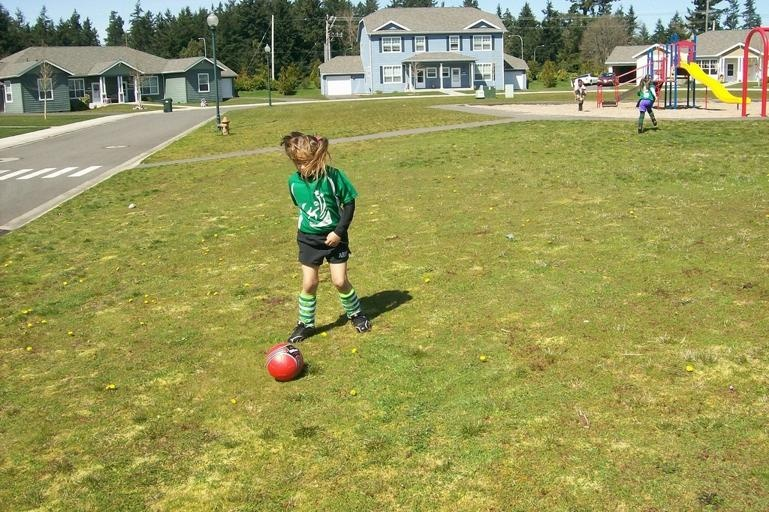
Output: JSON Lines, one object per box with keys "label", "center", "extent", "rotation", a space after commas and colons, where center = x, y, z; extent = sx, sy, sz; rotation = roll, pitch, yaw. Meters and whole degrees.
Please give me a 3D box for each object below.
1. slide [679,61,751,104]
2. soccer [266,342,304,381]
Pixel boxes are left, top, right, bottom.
{"label": "slide", "center": [20.576, -11.071, 36.358], "extent": [2.908, 2.651, 11.118], "rotation": [6, 17, 26]}
{"label": "soccer", "center": [-1.340, 1.448, 7.676], "extent": [0.466, 0.459, 0.468], "rotation": [4, -26, 26]}
